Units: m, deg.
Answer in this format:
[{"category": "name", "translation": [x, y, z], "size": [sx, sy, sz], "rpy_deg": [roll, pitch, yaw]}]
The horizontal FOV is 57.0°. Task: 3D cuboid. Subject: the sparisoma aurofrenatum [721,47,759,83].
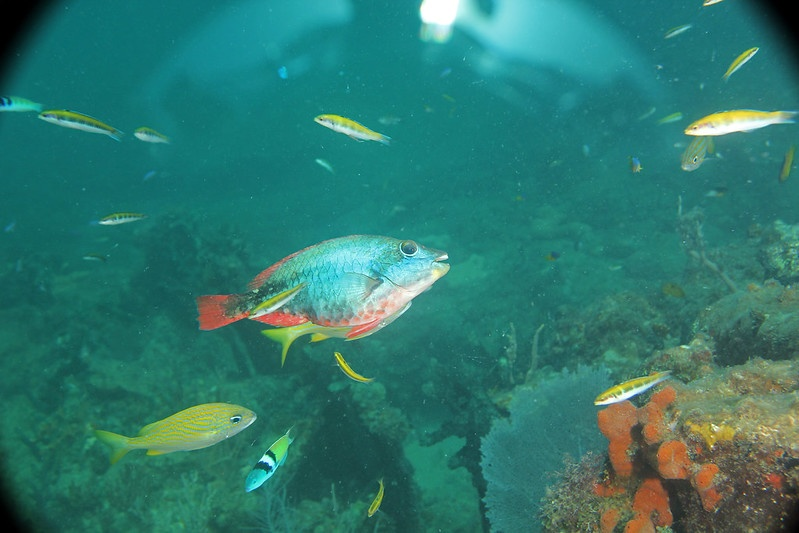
[{"category": "sparisoma aurofrenatum", "translation": [7.435, -4.401, 16.132], "size": [0.883, 0.276, 0.262], "rpy_deg": [-41, -32, -31]}]
